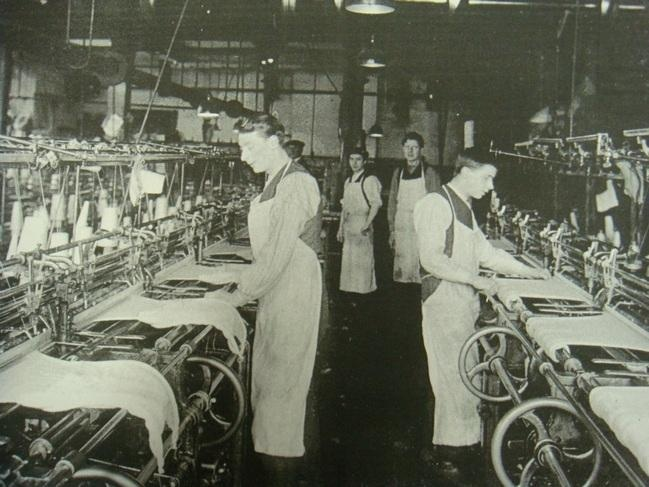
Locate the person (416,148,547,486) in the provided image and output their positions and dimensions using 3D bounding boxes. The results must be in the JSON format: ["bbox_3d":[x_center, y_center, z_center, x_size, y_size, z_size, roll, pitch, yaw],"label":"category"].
[{"bbox_3d":[0.759,0.410,3.446,0.584,1.826,0.220,4,7,9],"label":"person"}]

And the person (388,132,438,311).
[{"bbox_3d":[0.499,-0.197,3.528,0.244,0.836,0.216,-2,38,12],"label":"person"}]

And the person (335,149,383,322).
[{"bbox_3d":[0.196,-0.067,3.504,0.241,0.917,0.087,3,7,3],"label":"person"}]

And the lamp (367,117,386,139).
[{"bbox_3d":[0.282,-0.624,3.388,0.087,0.102,0.092,-1,-14,6],"label":"lamp"}]

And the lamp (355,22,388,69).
[{"bbox_3d":[0.243,-1.068,3.355,0.163,0.183,0.169,0,-1,-5],"label":"lamp"}]
